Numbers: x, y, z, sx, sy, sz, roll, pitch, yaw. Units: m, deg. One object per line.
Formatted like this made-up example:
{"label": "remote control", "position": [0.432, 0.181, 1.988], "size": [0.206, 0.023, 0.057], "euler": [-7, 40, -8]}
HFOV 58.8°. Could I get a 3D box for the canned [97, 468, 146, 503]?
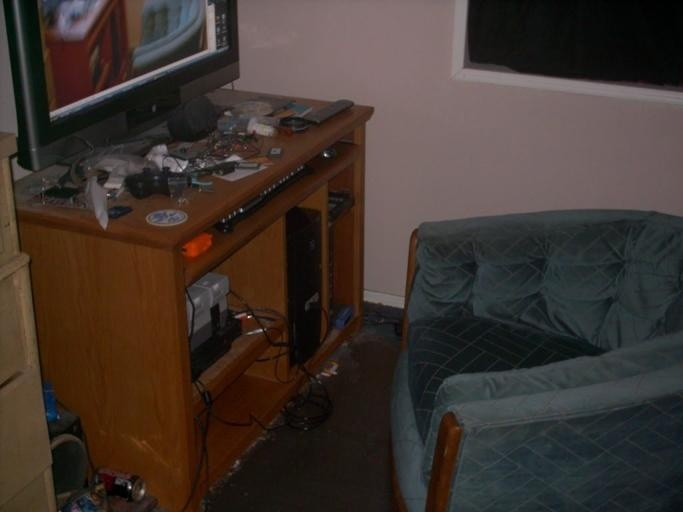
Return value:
{"label": "canned", "position": [-0.688, 0.721, 1.879], "size": [0.145, 0.087, 0.064], "euler": [7, 25, 4]}
